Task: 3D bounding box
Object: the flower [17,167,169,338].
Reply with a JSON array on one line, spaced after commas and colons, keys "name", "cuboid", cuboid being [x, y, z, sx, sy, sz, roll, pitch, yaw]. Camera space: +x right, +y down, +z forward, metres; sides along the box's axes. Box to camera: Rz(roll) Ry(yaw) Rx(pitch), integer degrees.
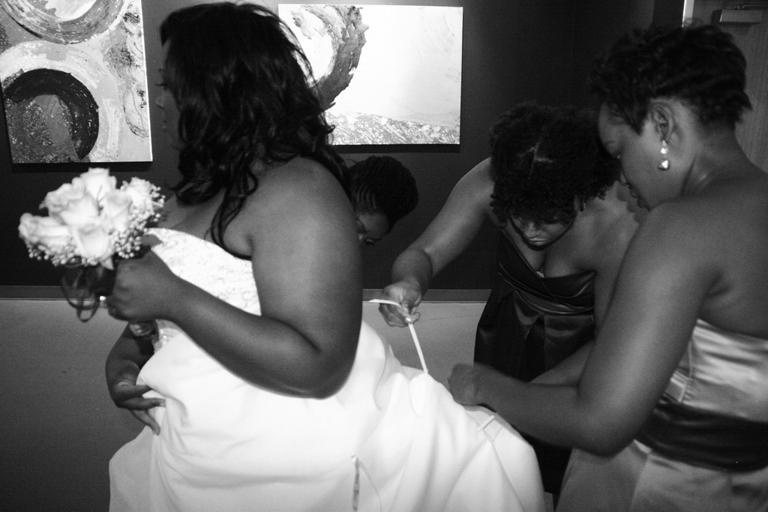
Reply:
[{"name": "flower", "cuboid": [-0.818, -0.065, 2.103, 0.448, 0.411, 0.503, -13, -29, -12]}]
